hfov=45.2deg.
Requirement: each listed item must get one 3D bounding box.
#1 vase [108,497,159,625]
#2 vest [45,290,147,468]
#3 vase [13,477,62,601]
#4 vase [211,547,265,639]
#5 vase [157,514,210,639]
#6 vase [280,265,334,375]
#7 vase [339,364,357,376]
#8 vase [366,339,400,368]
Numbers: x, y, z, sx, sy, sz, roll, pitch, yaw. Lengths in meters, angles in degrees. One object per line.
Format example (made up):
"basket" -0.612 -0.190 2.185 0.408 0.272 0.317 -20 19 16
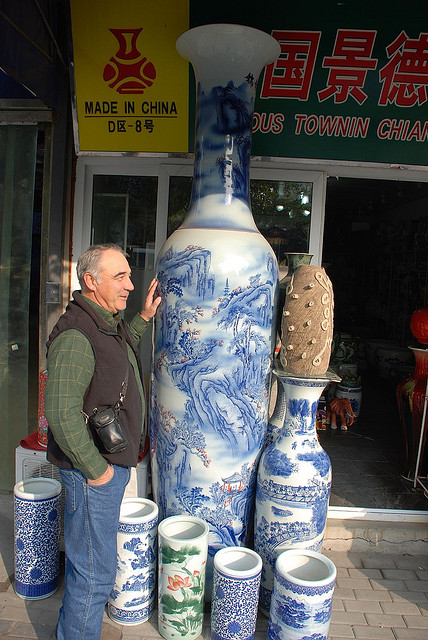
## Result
"vase" -0.356 1.082 2.295 0.210 0.493 0.349 5 5 -5
"vest" -0.443 0.235 2.021 0.309 0.678 0.563 7 6 24
"vase" -0.852 1.038 2.481 0.232 0.492 0.304 1 6 -36
"vase" 0.089 1.143 2.137 0.179 0.332 0.216 5 5 1
"vase" -0.146 1.111 2.237 0.232 0.471 0.272 5 5 1
"vase" 0.429 -0.007 2.372 0.235 0.502 0.222 6 5 10
"vase" 1.476 0.539 5.645 0.142 0.102 0.141 0 3 -44
"vase" 2.628 0.504 8.138 0.434 0.373 0.332 -4 10 -24
